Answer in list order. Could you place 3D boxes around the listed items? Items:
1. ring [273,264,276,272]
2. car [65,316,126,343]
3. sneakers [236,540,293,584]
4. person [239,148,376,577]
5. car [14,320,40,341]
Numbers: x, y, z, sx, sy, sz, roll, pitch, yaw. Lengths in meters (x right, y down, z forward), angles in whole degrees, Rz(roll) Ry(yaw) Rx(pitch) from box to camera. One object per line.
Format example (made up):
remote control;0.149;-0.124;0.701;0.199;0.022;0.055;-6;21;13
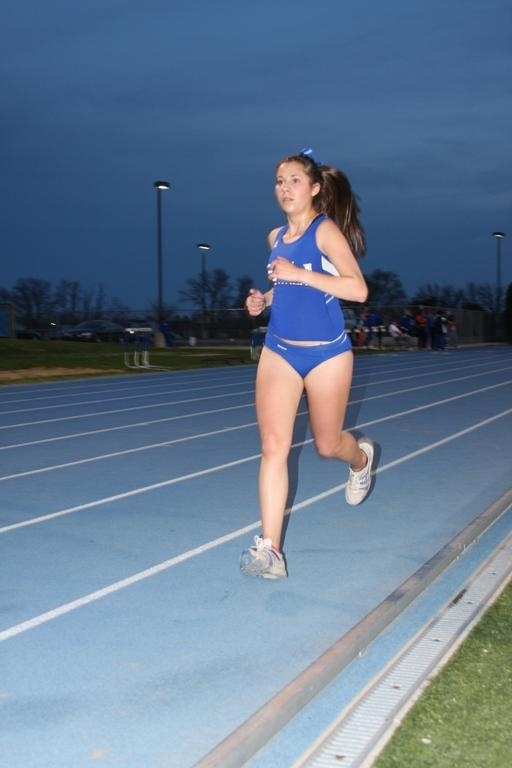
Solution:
ring;0.081;-0.519;2.619;0.010;0.032;0.023;2;2;9
car;-9.425;-3.043;34.622;3.475;1.064;1.762;3;6;4
sneakers;0.043;0.812;2.670;0.152;0.150;0.226;-5;-27;27
person;0.248;-0.113;2.960;0.614;2.056;1.234;0;4;10
car;-13.533;-3.094;34.817;1.273;0.799;1.835;-2;4;-19
